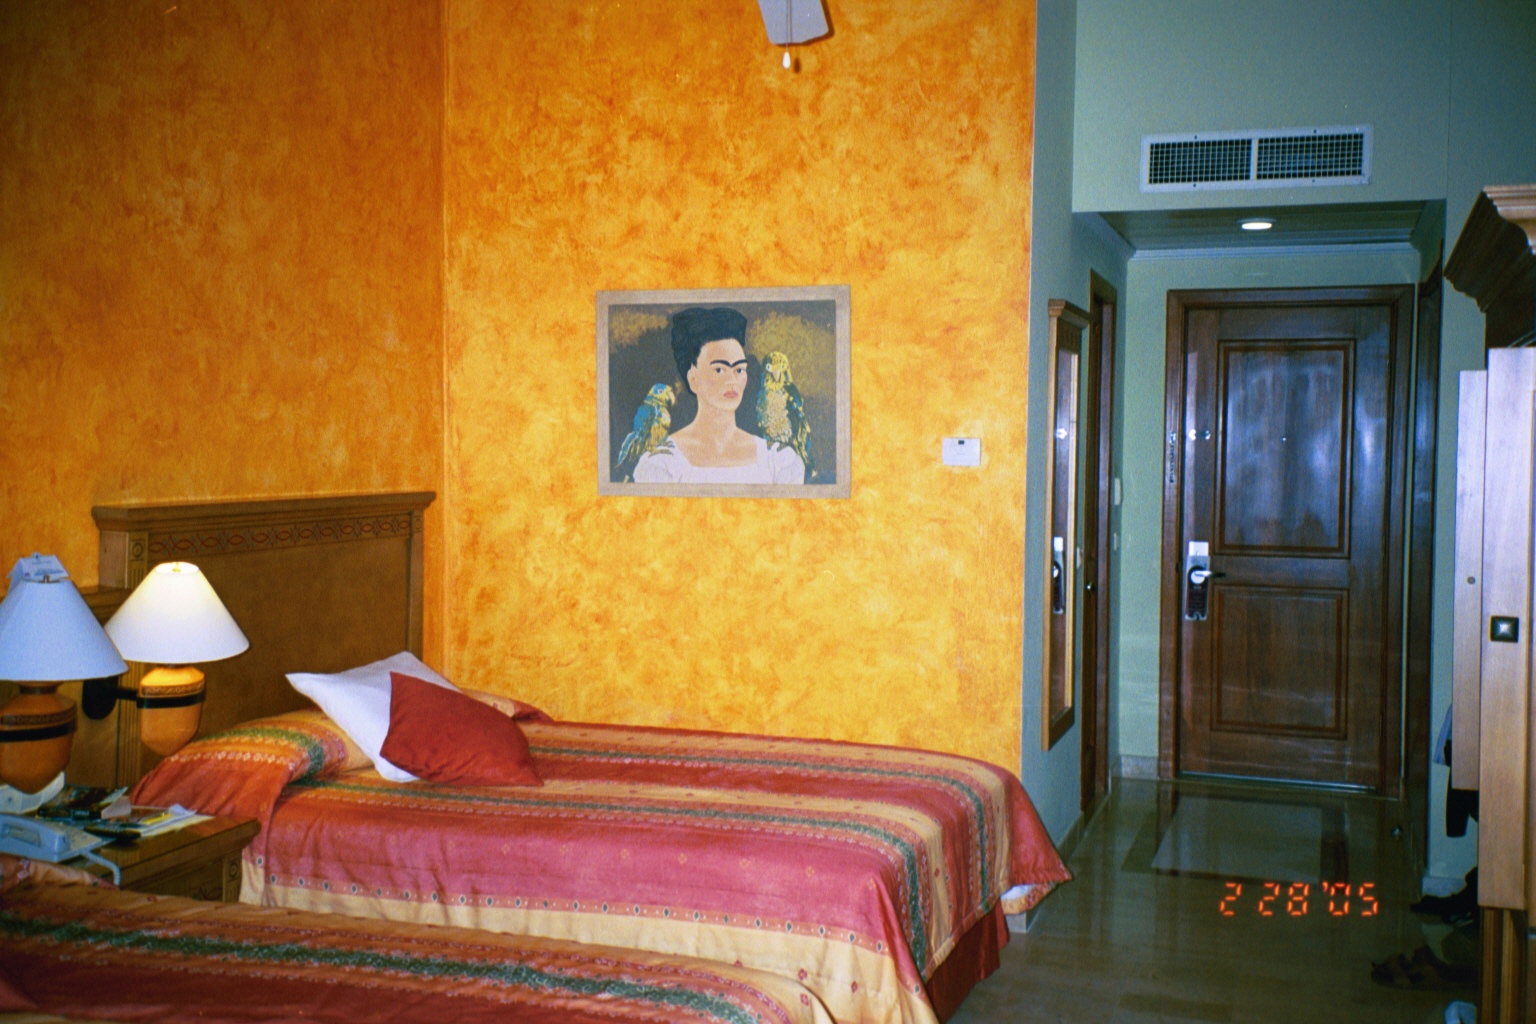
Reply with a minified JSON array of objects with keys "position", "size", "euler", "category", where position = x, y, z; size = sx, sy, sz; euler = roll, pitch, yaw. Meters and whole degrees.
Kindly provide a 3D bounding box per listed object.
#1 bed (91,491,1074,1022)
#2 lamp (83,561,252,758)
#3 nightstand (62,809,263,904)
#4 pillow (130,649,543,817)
[{"position":[-0.588,1.023,4.500],"size":[2.980,1.620,2.019],"euler":[2,7,18],"category":"bed"},{"position":[-2.148,0.503,4.417],"size":[0.622,0.807,0.607],"euler":[0,8,4],"category":"lamp"},{"position":[-1.923,1.161,3.870],"size":[0.251,0.331,0.470],"euler":[3,4,17],"category":"nightstand"},{"position":[-1.755,0.757,4.323],"size":[0.484,0.165,0.799],"euler":[11,13,29],"category":"pillow"}]
